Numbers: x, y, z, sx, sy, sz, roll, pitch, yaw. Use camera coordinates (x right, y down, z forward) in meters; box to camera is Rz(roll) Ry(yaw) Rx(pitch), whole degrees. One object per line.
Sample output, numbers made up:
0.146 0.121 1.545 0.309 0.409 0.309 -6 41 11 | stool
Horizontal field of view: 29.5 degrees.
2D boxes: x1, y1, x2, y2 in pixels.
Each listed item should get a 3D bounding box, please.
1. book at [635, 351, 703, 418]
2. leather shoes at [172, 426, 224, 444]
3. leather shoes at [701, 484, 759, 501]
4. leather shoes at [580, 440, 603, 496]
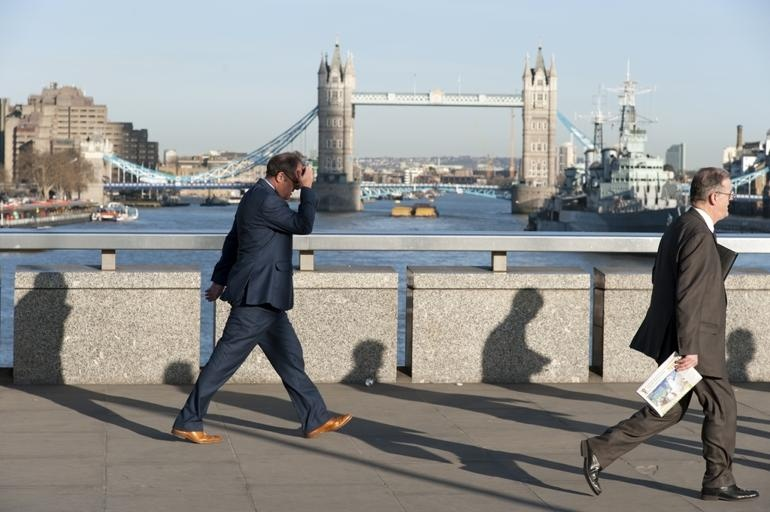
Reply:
2.014 0.929 10.477 0.559 0.476 0.350 -1 0 15 | book
-1.429 1.379 11.253 0.358 0.127 0.140 2 6 -9 | leather shoes
2.462 1.707 10.581 0.439 0.144 0.137 -2 2 -2 | leather shoes
1.491 1.521 10.581 0.160 0.406 0.199 3 9 8 | leather shoes
